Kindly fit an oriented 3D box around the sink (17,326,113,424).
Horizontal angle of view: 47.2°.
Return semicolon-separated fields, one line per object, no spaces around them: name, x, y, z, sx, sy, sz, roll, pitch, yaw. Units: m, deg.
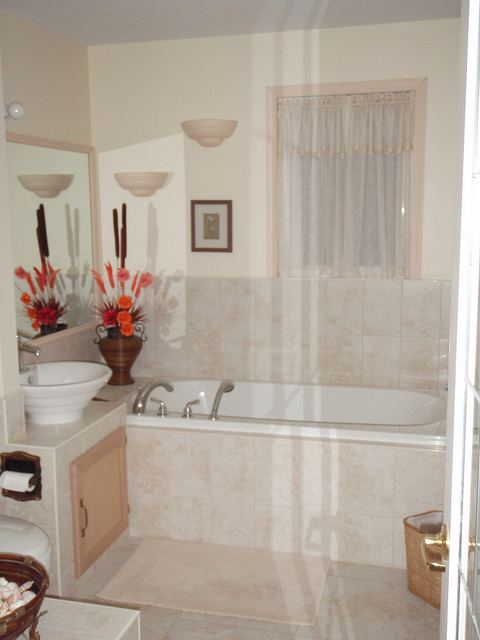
sink;-0.845;0.230;2.555;0.466;0.375;0.433;-3;12;-3

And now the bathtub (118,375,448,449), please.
bathtub;0.258;0.524;3.227;1.924;0.361;0.988;1;5;13

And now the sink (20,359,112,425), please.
sink;-0.773;0.392;2.583;0.167;0.378;0.500;-24;-13;10

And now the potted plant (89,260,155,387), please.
potted plant;-0.798;0.021;3.748;0.405;0.816;0.440;-5;-6;2

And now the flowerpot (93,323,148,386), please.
flowerpot;-0.797;0.217;3.747;0.417;0.499;0.321;0;1;-6

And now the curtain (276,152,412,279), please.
curtain;0.650;-0.721;3.535;0.887;0.886;0.094;-1;5;-6
